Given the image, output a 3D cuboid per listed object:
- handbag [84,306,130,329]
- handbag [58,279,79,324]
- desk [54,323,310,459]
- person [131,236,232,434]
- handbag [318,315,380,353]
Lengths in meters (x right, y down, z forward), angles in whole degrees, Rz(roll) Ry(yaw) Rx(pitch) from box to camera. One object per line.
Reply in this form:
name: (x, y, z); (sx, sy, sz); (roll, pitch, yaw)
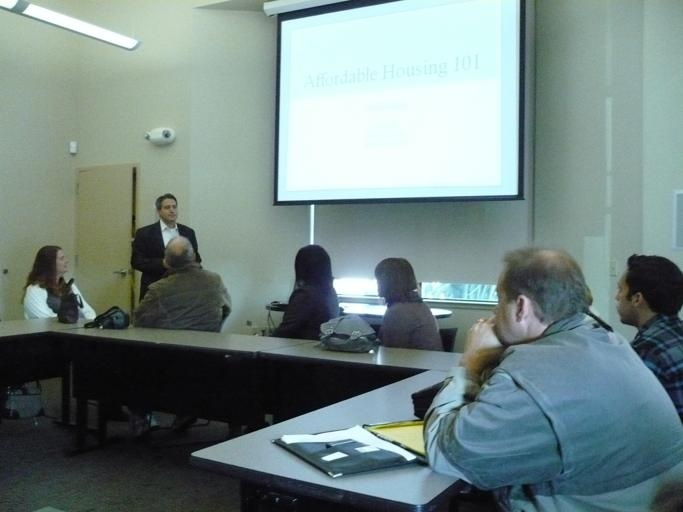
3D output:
handbag: (-1.515, 0.405, 3.929); (0.212, 0.099, 0.158); (0, 1, -16)
handbag: (-1.908, 0.306, 4.202); (0.122, 0.275, 0.334); (-2, 5, -25)
desk: (-1.005, 0.844, 3.741); (1.377, 0.729, 0.605); (-10, -33, 8)
person: (-1.135, 0.502, 4.251); (0.620, 1.244, 0.660); (4, 13, -15)
handbag: (0.041, 0.408, 3.364); (0.317, 0.161, 0.405); (8, 8, 16)
